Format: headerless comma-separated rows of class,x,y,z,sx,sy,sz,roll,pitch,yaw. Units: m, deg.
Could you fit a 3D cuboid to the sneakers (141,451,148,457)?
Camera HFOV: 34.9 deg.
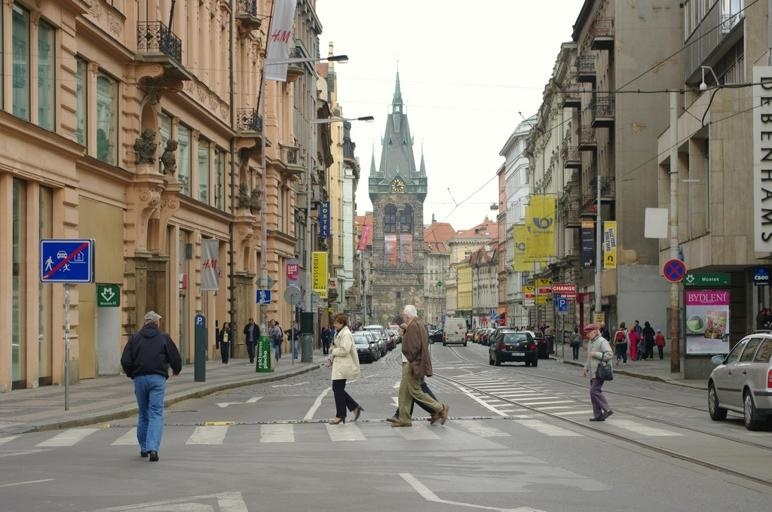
sneakers,-5.319,4.397,27.165,0.130,0.107,0.137,-1,-3,31

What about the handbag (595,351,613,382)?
handbag,5.890,3.007,32.928,0.356,0.726,0.844,-7,-10,26

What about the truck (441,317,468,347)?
truck,6.139,6.862,108.980,2.590,2.771,5.131,0,-1,4

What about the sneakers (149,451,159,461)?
sneakers,-5.069,4.422,26.922,0.197,0.220,0.290,-2,-9,-12

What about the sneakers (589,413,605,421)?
sneakers,5.489,4.227,31.989,0.454,0.217,0.164,2,-2,-2

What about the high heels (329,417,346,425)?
high heels,-1.224,4.282,31.659,0.320,0.155,0.188,6,-2,-9

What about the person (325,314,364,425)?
person,-1.075,2.943,32.099,0.783,2.905,1.448,-3,-8,-3

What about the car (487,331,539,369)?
car,6.212,4.608,59.426,1.567,1.434,2.915,0,3,1

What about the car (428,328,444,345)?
car,4.958,7.887,119.130,1.368,1.224,2.302,2,13,11
